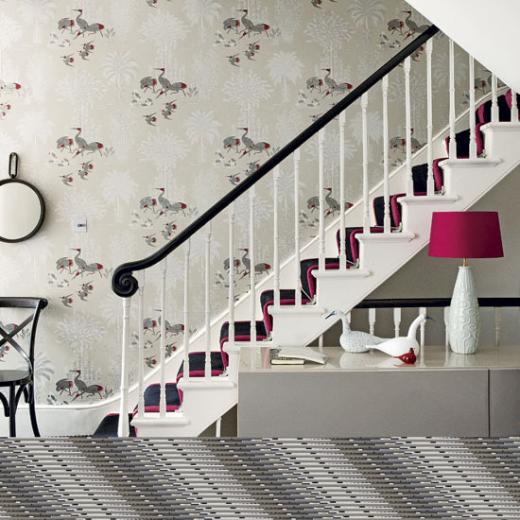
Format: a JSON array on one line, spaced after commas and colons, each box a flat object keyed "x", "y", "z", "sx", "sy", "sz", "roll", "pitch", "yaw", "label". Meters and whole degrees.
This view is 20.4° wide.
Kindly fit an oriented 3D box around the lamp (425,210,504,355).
[{"x": 1.055, "y": 0.102, "z": 7.444, "sx": 0.400, "sy": 0.741, "sz": 0.390, "roll": 0, "pitch": 0, "yaw": -2, "label": "lamp"}]
